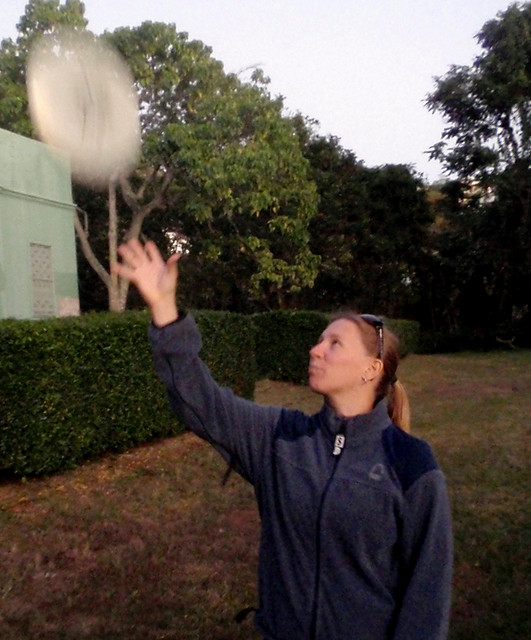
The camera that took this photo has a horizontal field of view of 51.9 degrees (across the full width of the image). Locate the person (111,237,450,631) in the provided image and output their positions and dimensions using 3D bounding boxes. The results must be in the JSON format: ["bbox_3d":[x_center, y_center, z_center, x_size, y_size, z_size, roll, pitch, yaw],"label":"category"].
[{"bbox_3d":[0.144,0.398,1.880,0.968,1.293,0.569,2,4,20],"label":"person"}]
